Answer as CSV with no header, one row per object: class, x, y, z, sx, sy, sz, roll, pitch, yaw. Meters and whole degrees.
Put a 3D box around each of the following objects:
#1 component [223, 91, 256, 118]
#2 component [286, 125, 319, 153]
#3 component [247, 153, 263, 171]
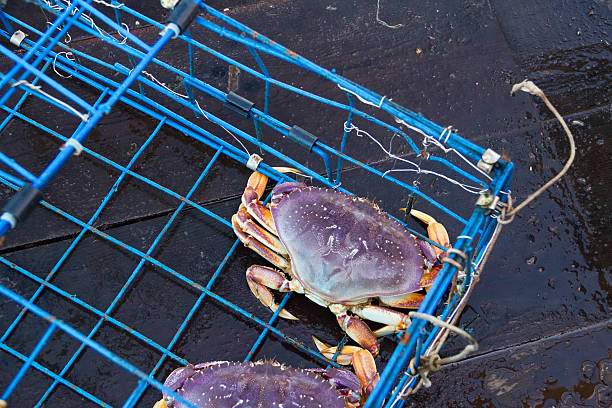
component,-0.806,-1.204,7.384,0.360,0.270,0.242,31,70,12
component,-0.038,-0.811,7.346,0.387,0.286,0.227,33,68,6
component,-0.684,-0.553,8.024,0.183,0.181,0.262,23,90,3
